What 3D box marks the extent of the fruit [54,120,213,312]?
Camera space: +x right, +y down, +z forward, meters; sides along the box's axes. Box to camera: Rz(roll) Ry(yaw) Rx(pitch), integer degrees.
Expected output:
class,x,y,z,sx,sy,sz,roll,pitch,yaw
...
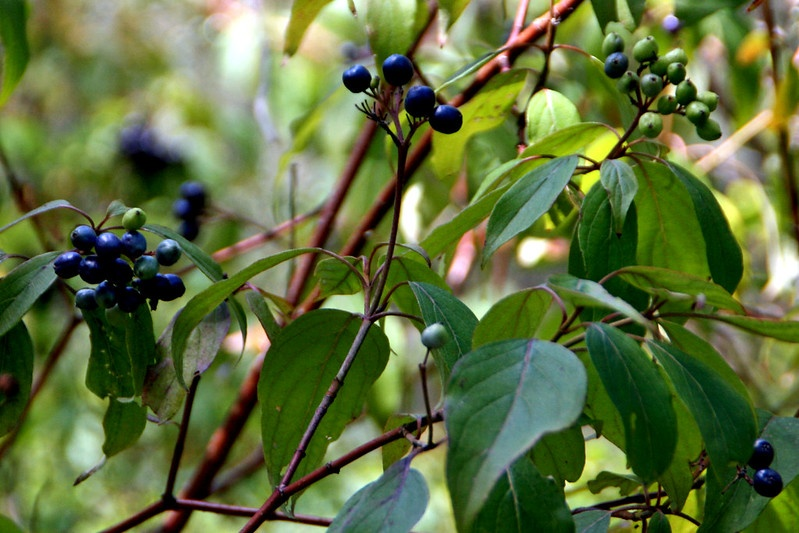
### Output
class,x,y,z,sx,sy,sz,roll,pitch,yaw
fruit,-0.533,-0.007,1.848,0.212,0.164,0.226,-33,-54,27

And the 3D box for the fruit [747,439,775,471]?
class,x,y,z,sx,sy,sz,roll,pitch,yaw
fruit,0.674,0.353,1.776,0.044,0.062,0.049,5,-20,-2

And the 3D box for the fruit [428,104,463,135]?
class,x,y,z,sx,sy,sz,roll,pitch,yaw
fruit,0.088,-0.276,1.787,0.053,0.045,0.051,8,-73,0

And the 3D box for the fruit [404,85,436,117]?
class,x,y,z,sx,sy,sz,roll,pitch,yaw
fruit,0.029,-0.310,1.789,0.039,0.041,0.052,19,-85,13

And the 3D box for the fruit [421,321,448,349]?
class,x,y,z,sx,sy,sz,roll,pitch,yaw
fruit,0.064,0.126,1.731,0.039,0.045,0.026,-47,-29,-11
